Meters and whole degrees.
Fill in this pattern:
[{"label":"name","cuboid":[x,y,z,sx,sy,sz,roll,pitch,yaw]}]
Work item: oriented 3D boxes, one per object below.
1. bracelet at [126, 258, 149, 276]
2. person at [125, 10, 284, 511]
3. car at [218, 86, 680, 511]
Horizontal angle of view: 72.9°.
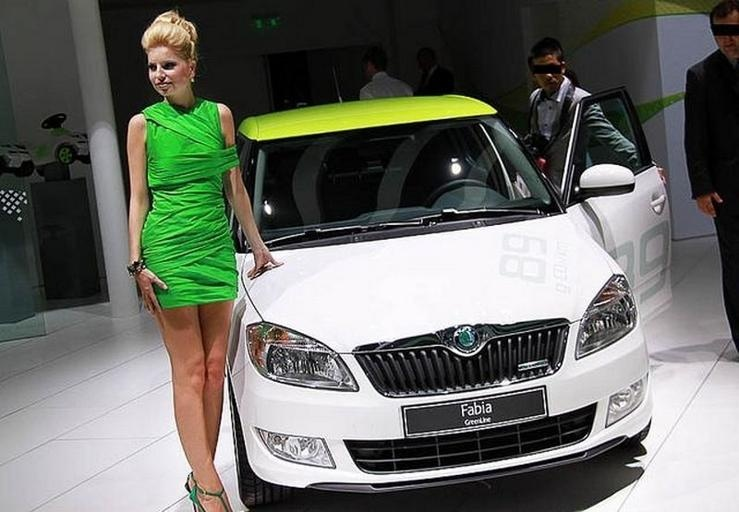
[{"label":"bracelet","cuboid":[-0.996,0.047,2.124,0.075,0.026,0.057,-39,-32,20]},{"label":"person","cuboid":[-0.755,0.067,2.196,0.526,2.175,0.224,-12,11,-28]},{"label":"car","cuboid":[0.204,0.128,3.034,1.939,1.162,2.289,-7,9,-6]}]
